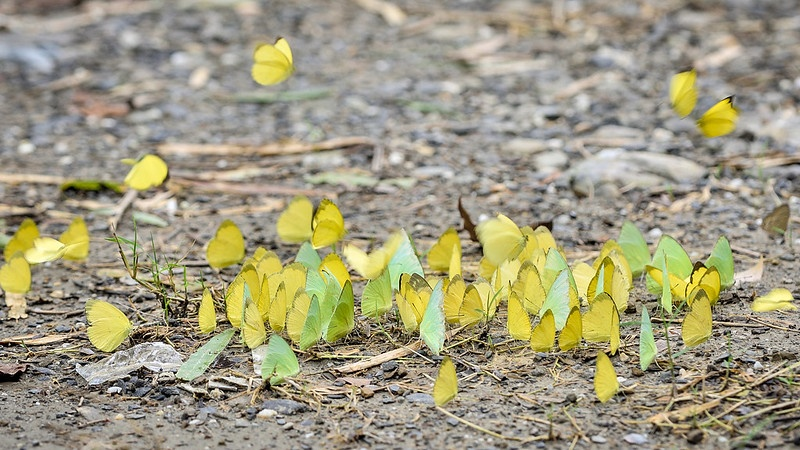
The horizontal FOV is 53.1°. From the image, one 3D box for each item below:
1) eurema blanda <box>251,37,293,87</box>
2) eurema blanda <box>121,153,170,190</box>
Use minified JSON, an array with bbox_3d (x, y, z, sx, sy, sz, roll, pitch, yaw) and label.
[{"bbox_3d":[-0.910,-1.168,5.724,0.293,0.355,0.199,-1,26,4],"label":"eurema blanda"},{"bbox_3d":[-1.695,-0.345,5.281,0.276,0.237,0.157,-16,28,-26],"label":"eurema blanda"}]
